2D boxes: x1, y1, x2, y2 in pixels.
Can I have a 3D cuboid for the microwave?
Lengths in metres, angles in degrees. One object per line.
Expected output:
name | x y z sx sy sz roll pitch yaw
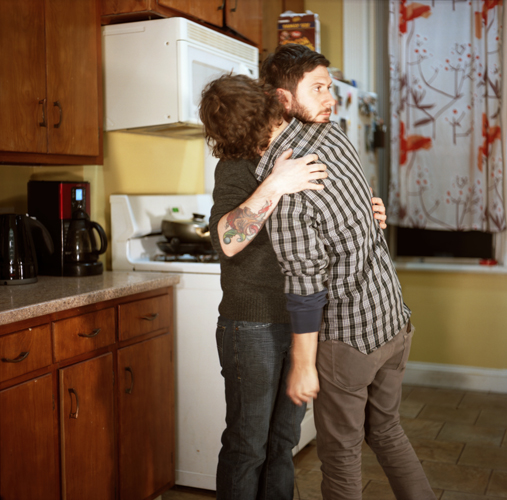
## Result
microwave | -0.320 -0.806 2.433 0.394 0.496 0.740 3 11 21

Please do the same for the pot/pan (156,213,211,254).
pot/pan | -0.324 -0.118 2.290 0.252 0.123 0.191 9 11 44
